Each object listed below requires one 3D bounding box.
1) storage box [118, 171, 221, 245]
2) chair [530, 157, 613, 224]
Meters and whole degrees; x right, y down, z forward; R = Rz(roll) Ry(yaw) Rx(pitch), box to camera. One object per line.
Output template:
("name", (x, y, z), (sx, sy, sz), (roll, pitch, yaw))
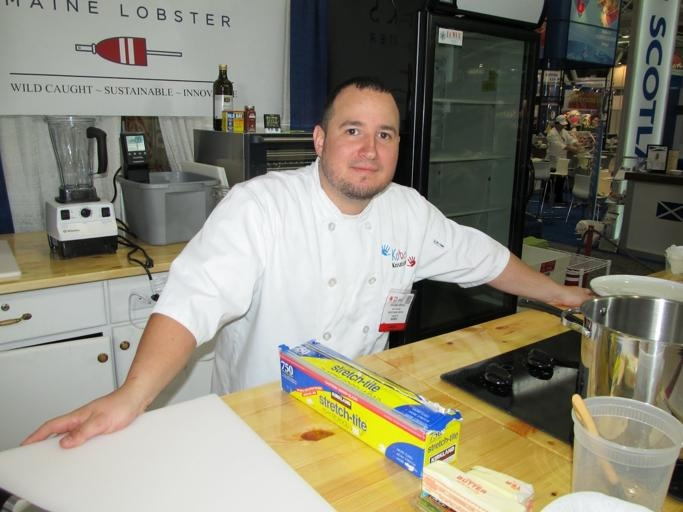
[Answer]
("storage box", (-0.878, -0.260, 2.357), (0.388, 0.300, 0.494), (-10, 20, -41))
("chair", (3.571, -1.014, 7.301), (1.127, 0.640, 1.211), (0, 17, -1))
